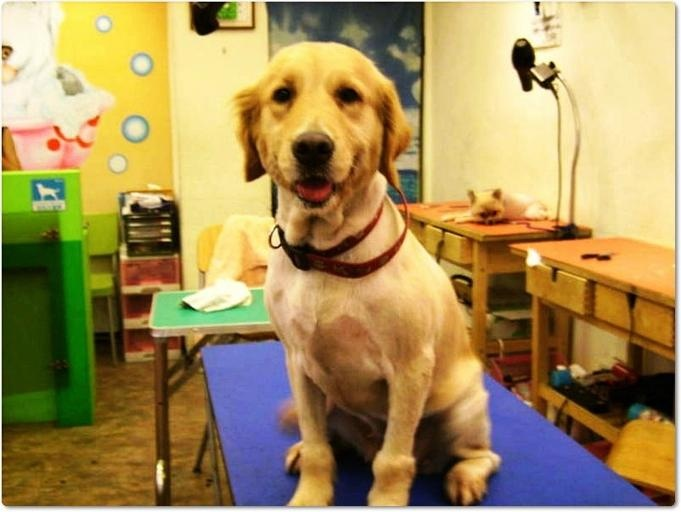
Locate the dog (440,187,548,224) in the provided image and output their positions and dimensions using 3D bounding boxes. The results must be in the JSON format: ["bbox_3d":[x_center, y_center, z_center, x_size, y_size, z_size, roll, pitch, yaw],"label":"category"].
[{"bbox_3d":[0.957,-0.281,3.528,0.351,0.125,0.275,0,-1,-20],"label":"dog"}]
